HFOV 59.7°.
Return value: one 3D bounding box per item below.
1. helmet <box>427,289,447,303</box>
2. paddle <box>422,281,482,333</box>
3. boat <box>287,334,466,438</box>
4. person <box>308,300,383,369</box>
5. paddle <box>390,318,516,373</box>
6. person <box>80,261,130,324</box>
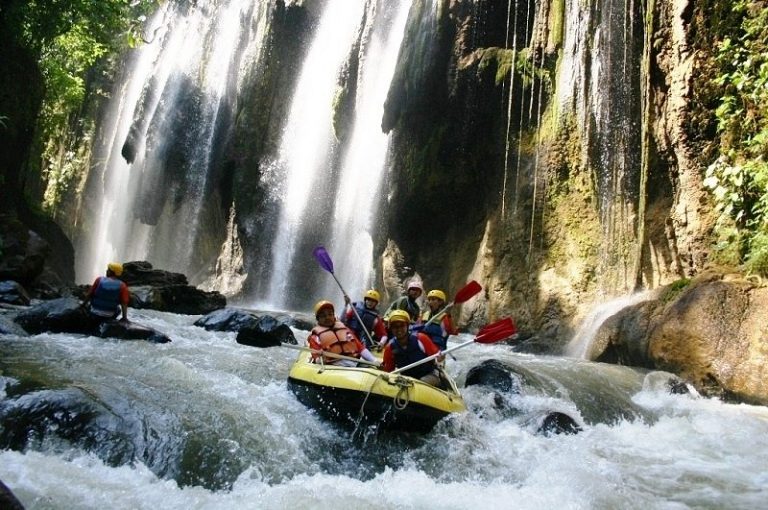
[{"bbox_3d":[1.250,0.923,16.298,0.456,0.264,0.343,22,-9,32],"label":"helmet"},{"bbox_3d":[2.199,1.628,20.634,2.767,0.409,0.281,-43,9,-22],"label":"paddle"},{"bbox_3d":[-0.453,2.912,14.147,2.611,0.890,1.918,21,-4,32],"label":"boat"},{"bbox_3d":[-1.061,1.823,14.918,0.952,0.889,1.726,-10,34,-43],"label":"person"},{"bbox_3d":[1.710,2.272,16.502,3.259,0.449,0.358,-21,-29,-10],"label":"paddle"},{"bbox_3d":[-7.210,1.032,17.639,1.018,1.687,1.075,12,-5,-43],"label":"person"}]
